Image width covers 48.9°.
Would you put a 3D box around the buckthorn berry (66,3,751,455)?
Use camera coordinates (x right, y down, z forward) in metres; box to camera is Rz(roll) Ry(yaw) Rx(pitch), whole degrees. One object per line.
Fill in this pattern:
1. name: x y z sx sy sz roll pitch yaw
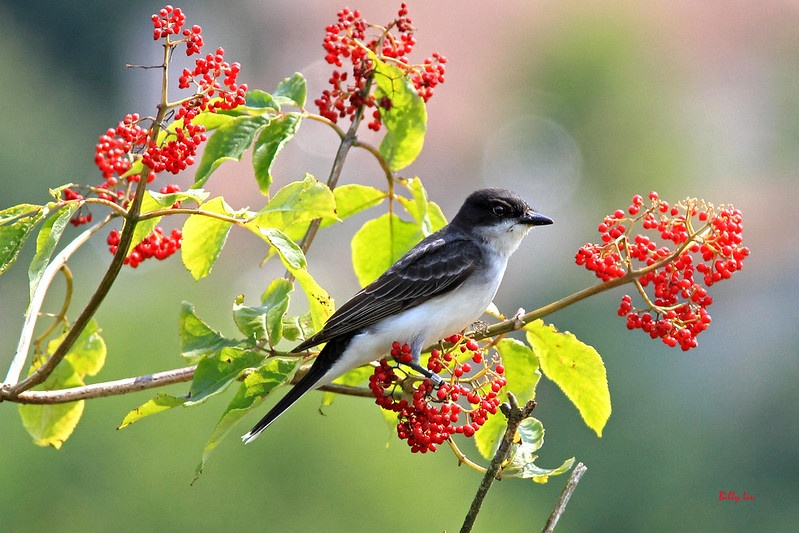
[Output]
1. buckthorn berry: 0.081 -0.058 6.622 4.368 3.066 3.894 16 9 32

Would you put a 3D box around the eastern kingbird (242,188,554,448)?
1. eastern kingbird: -0.058 0.335 7.543 2.491 1.697 0.826 -7 -12 9
